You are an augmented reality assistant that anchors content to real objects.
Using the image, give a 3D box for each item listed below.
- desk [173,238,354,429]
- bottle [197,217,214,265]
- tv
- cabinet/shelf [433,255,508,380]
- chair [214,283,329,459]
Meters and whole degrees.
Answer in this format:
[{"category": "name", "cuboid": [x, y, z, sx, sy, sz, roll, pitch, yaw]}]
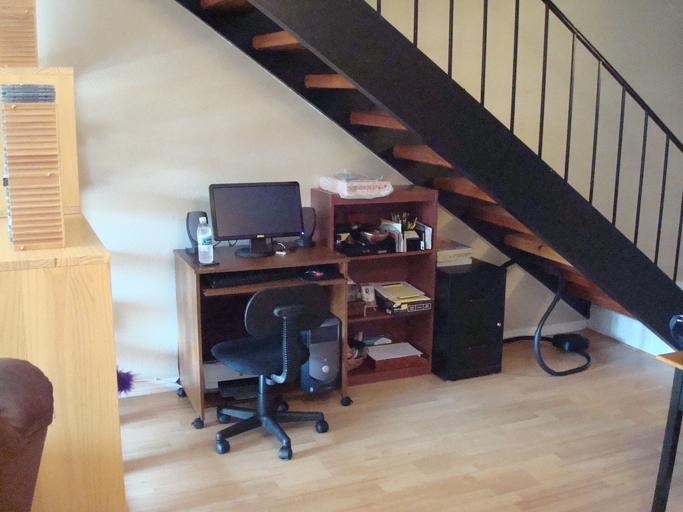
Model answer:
[{"category": "desk", "cuboid": [-0.530, 0.505, 4.176, 1.042, 0.954, 0.655, -5, 5, -26]}, {"category": "bottle", "cuboid": [-0.863, -0.103, 3.863, 0.115, 0.239, 0.349, -9, 15, -13]}, {"category": "tv", "cuboid": [-0.565, -0.251, 4.077, 0.630, 0.454, 0.223, -5, 12, -28]}, {"category": "cabinet/shelf", "cuboid": [0.927, 0.472, 4.482, 0.570, 0.809, 0.234, -11, 16, -19]}, {"category": "chair", "cuboid": [-0.445, 0.637, 3.743, 0.729, 0.972, 0.742, -3, 7, -24]}]
